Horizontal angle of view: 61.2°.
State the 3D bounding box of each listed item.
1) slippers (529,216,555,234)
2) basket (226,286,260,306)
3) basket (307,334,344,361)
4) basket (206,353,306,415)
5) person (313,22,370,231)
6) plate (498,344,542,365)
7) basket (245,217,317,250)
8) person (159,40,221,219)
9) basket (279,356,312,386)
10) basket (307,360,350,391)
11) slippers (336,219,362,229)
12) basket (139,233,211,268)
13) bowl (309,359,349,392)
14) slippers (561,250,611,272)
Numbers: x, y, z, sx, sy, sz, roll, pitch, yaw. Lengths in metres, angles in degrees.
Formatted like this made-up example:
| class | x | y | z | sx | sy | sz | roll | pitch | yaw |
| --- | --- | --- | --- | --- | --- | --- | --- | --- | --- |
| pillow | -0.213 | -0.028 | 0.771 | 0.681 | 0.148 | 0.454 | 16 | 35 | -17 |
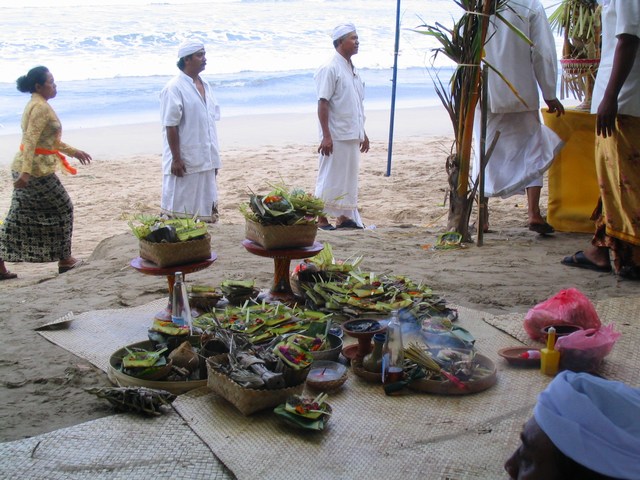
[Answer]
| class | x | y | z | sx | sy | sz | roll | pitch | yaw |
| --- | --- | --- | --- | --- | --- | --- | --- | --- | --- |
| slippers | 2.397 | -0.152 | 5.894 | 0.308 | 0.111 | 0.130 | 7 | 20 | -29 |
| basket | -0.554 | 0.414 | 4.041 | 0.265 | 0.133 | 0.138 | -9 | 15 | -32 |
| basket | 0.053 | 0.672 | 3.348 | 0.159 | 0.056 | 0.151 | 2 | 5 | 33 |
| basket | -0.355 | 0.834 | 3.015 | 0.437 | 0.132 | 0.528 | 8 | -2 | -41 |
| person | 0.242 | -1.333 | 6.664 | 0.675 | 2.479 | 0.856 | -2 | 14 | 5 |
| plate | 1.216 | 0.700 | 3.306 | 0.233 | 0.079 | 0.218 | 1 | 12 | 13 |
| basket | -0.295 | -0.052 | 4.044 | 0.559 | 0.226 | 0.305 | -2 | 12 | 0 |
| person | -1.388 | -1.105 | 5.891 | 0.704 | 1.983 | 0.623 | -11 | 17 | -30 |
| basket | -0.127 | 0.708 | 2.933 | 0.157 | 0.112 | 0.147 | 7 | 16 | 5 |
| basket | 0.020 | 0.785 | 3.125 | 0.232 | 0.088 | 0.215 | -11 | 26 | -40 |
| slippers | 0.353 | -0.187 | 6.831 | 0.373 | 0.109 | 0.115 | 0 | 6 | -1 |
| basket | -1.101 | 0.077 | 3.919 | 0.505 | 0.155 | 0.560 | 3 | 10 | 24 |
| bowl | 0.044 | 0.786 | 3.147 | 0.234 | 0.090 | 0.286 | -1 | 11 | 3 |
| slippers | 2.330 | 0.193 | 4.755 | 0.160 | 0.075 | 0.306 | 2 | 7 | -41 |
